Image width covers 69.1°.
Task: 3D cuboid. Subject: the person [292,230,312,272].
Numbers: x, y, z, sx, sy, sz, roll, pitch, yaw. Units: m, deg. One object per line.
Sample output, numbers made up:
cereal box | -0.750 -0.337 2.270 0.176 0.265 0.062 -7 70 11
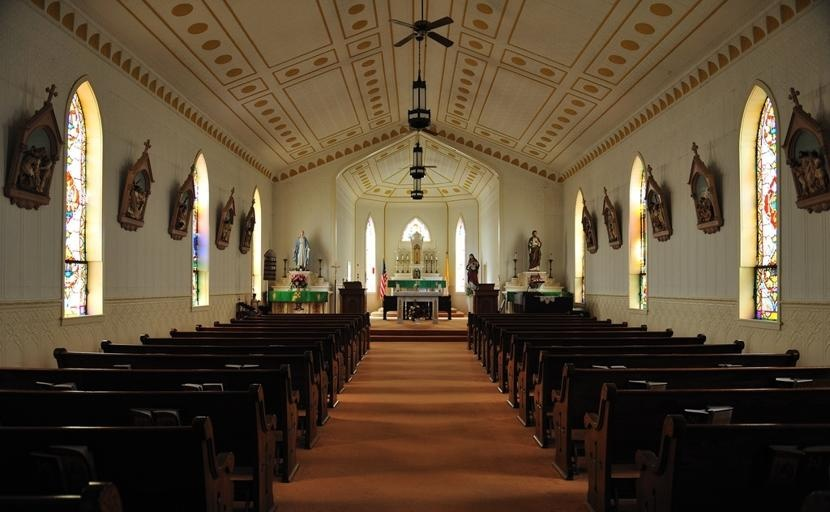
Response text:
person | -4.497 -0.207 23.912 0.656 1.559 0.872 0 4 -6

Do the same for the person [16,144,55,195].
person | -6.974 -1.589 11.070 0.166 0.909 0.734 1 4 13

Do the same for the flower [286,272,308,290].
flower | -4.408 0.928 22.846 0.510 0.643 0.675 -3 -4 -3

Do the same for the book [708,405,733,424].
book | 3.816 1.959 7.515 0.247 0.195 0.589 3 5 34

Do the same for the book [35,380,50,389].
book | -5.364 1.851 8.679 0.369 0.069 0.053 -11 9 42

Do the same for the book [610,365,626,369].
book | 3.330 1.807 9.844 0.184 0.044 0.179 1 -3 11

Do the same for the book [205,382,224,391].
book | -2.809 1.826 8.413 0.155 0.079 0.164 0 -5 -2

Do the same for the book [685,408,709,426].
book | 3.549 2.005 7.560 0.235 0.270 0.265 -2 -11 18

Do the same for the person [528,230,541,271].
person | 4.848 -0.263 24.162 0.526 1.538 0.746 1 4 11

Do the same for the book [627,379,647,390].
book | 3.232 1.853 8.732 0.182 0.072 0.144 2 -2 7

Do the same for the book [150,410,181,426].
book | -3.067 1.988 7.403 0.220 0.244 0.217 -1 -3 -6
